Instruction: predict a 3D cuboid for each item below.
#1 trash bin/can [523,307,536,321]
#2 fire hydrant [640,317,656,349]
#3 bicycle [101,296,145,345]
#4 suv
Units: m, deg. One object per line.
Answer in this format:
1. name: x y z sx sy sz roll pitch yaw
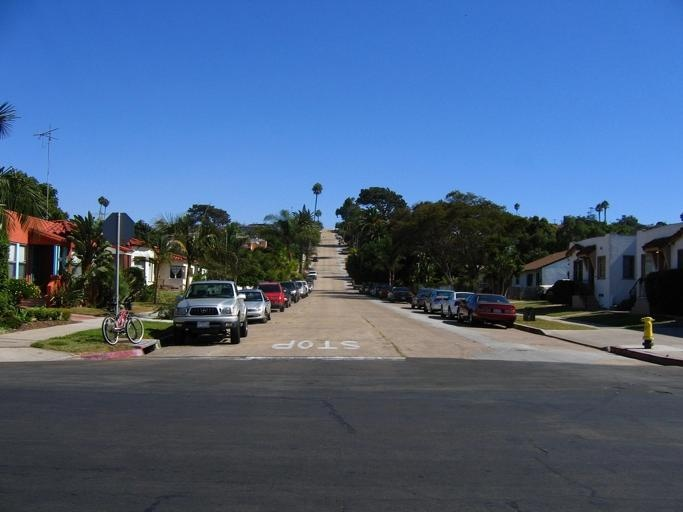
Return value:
1. trash bin/can: 10.450 3.240 31.004 0.682 0.784 0.690 2 -6 -29
2. fire hydrant: 10.440 2.624 19.051 0.285 1.030 0.610 -2 -6 27
3. bicycle: -6.759 2.064 17.291 0.904 1.310 2.052 -10 -10 11
4. suv: -4.548 1.913 19.356 2.121 2.190 2.193 1 -6 -3
